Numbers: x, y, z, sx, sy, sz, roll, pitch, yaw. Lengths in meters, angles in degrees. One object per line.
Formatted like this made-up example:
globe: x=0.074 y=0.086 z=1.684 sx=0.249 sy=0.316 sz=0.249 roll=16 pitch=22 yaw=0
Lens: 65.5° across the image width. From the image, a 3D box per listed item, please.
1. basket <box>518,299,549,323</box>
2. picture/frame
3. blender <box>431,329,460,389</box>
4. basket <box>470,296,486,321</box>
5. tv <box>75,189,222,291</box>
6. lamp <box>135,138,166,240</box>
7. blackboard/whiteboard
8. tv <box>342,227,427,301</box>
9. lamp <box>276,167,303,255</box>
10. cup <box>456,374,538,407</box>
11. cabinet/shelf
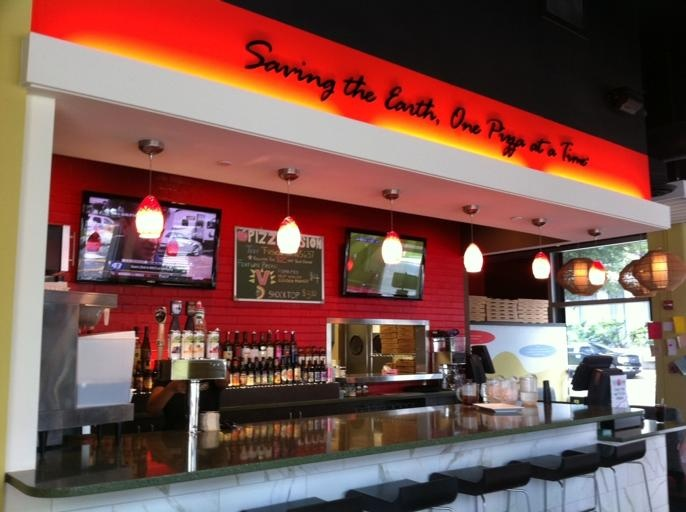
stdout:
basket: x=3.358 y=0.978 z=9.440 sx=0.443 sy=0.284 sz=0.422 roll=4 pitch=-7 yaw=-29
picture/frame: x=-0.774 y=0.122 z=5.984 sx=0.982 sy=0.635 sz=0.037 roll=5 pitch=-7 yaw=-36
blender: x=1.423 y=1.404 z=7.378 sx=0.415 sy=0.791 sz=0.375 roll=8 pitch=-10 yaw=-37
basket: x=2.379 y=0.949 z=9.466 sx=0.441 sy=0.378 sz=0.245 roll=1 pitch=-4 yaw=-6
tv: x=-1.947 y=-0.143 z=5.167 sx=1.134 sy=0.660 sz=0.110 roll=5 pitch=-5 yaw=-31
lamp: x=-1.634 y=-0.482 z=4.462 sx=0.234 sy=0.762 sz=1.055 roll=5 pitch=-8 yaw=-21
blackboard/whiteboard: x=-0.770 y=0.121 z=5.986 sx=0.986 sy=0.666 sz=0.042 roll=4 pitch=-6 yaw=-36
tv: x=0.565 y=0.134 z=7.045 sx=1.359 sy=0.851 sz=0.141 roll=7 pitch=-10 yaw=-36
lamp: x=-0.464 y=-0.377 z=4.628 sx=0.254 sy=0.709 sz=0.244 roll=1 pitch=3 yaw=15
cup: x=1.495 y=1.301 z=5.119 sx=0.608 sy=0.236 sz=0.361 roll=-2 pitch=-7 yaw=21
cabinet/shelf: x=-1.758 y=0.726 z=3.455 sx=0.614 sy=0.770 sz=0.831 roll=3 pitch=-19 yaw=-38
